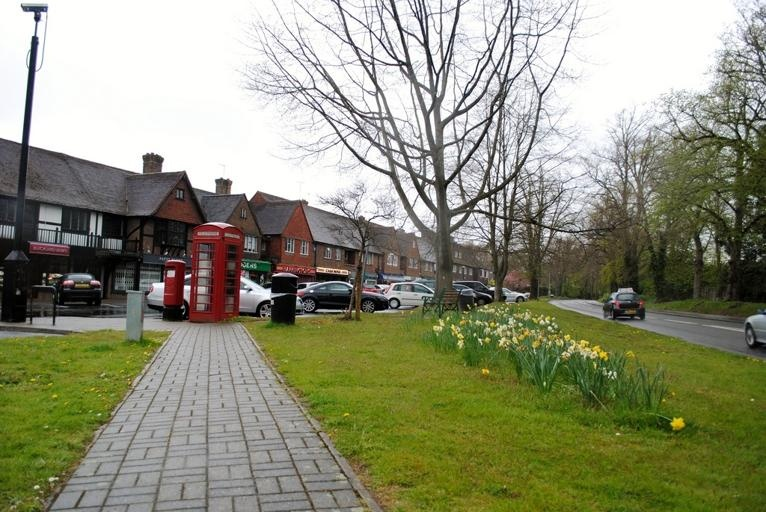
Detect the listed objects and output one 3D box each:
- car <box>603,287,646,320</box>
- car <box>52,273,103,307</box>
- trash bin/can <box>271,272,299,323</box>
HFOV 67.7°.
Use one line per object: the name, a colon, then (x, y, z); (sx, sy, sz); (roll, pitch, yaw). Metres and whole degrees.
car: (13.386, 2.723, 32.001); (1.445, 1.182, 2.442); (0, -1, 15)
car: (-14.637, 1.614, 27.309); (1.724, 1.524, 1.653); (3, 3, 40)
trash bin/can: (-3.124, 1.301, 17.869); (0.796, 1.735, 0.724); (-5, 13, -44)
